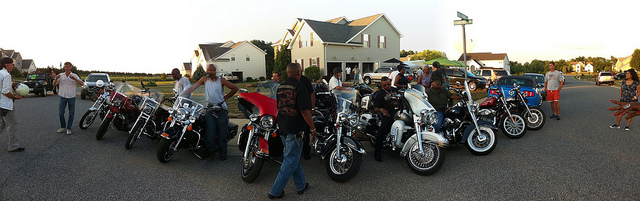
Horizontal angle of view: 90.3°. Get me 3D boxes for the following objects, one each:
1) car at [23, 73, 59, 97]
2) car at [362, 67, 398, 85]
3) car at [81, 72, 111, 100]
[{"bbox_3d":[-37.176,-2.305,42.189,3.298,1.979,5.193,5,6,-16],"label":"car"},{"bbox_3d":[9.000,-3.643,48.220,5.917,2.162,3.205,6,12,29],"label":"car"},{"bbox_3d":[-27.525,-2.063,39.616,2.564,1.909,5.322,3,3,-35],"label":"car"}]
